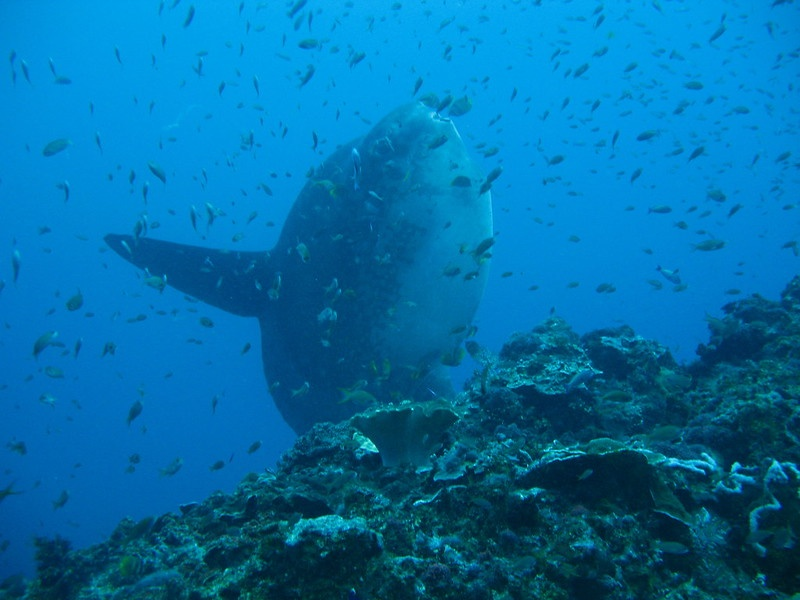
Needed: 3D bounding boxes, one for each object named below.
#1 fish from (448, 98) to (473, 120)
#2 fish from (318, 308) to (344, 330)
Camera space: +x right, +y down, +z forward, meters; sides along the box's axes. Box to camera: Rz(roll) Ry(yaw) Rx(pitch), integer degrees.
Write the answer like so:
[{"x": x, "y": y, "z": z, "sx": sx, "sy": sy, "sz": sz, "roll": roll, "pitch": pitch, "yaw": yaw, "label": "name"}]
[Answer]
[{"x": 1.029, "y": -3.423, "z": 14.163, "sx": 0.357, "sy": 0.353, "sz": 0.311, "roll": 10, "pitch": 17, "yaw": 6, "label": "fish"}, {"x": -1.315, "y": 0.373, "z": 14.837, "sx": 0.414, "sy": 0.049, "sz": 0.390, "roll": -43, "pitch": 12, "yaw": -34, "label": "fish"}]
